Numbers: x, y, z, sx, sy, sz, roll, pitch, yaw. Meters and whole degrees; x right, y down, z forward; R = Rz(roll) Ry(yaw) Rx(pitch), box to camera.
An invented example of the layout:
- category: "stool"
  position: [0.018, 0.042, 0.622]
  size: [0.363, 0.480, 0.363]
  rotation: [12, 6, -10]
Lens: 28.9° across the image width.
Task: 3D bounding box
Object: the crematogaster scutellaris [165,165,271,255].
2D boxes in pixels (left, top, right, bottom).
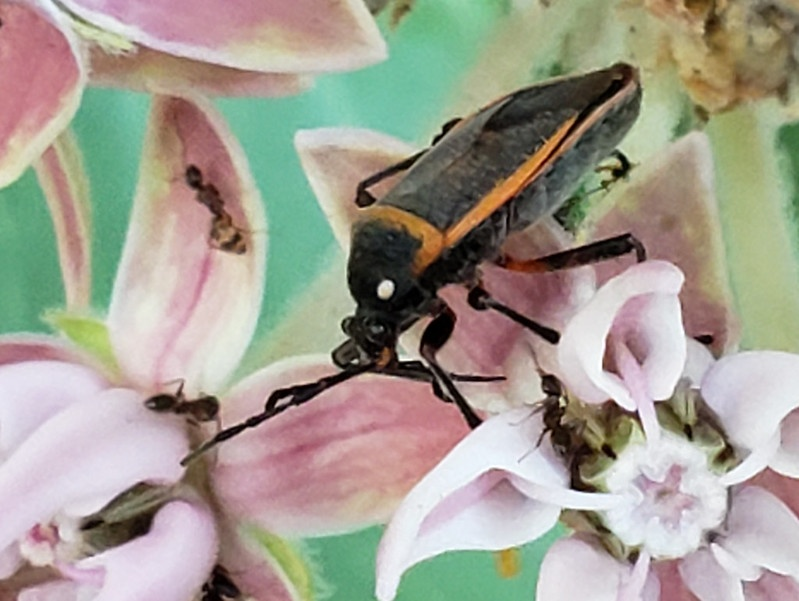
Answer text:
- category: "crematogaster scutellaris"
  position: [-0.167, -0.077, 1.355]
  size: [0.057, 0.054, 0.088]
  rotation: [-6, -67, 2]

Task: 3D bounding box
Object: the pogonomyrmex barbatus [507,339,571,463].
- category: "pogonomyrmex barbatus"
  position: [0.117, 0.086, 1.299]
  size: [0.039, 0.034, 0.080]
  rotation: [1, -66, 23]
